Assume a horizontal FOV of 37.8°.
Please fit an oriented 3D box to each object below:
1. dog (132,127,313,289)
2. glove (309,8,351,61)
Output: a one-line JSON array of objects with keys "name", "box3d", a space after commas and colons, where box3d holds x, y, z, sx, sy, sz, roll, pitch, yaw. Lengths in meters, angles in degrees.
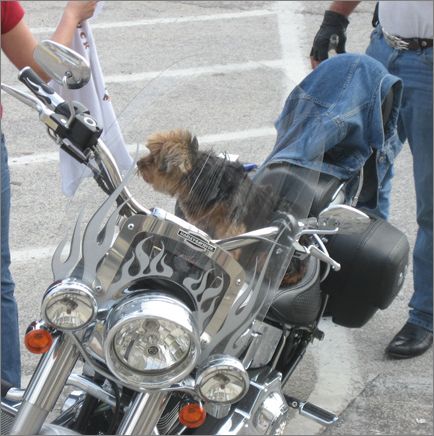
[{"name": "dog", "box3d": [0.034, -0.039, 1.656, 0.602, 0.257, 0.167, 12, 15, -27]}, {"name": "glove", "box3d": [0.562, -0.931, 3.219, 0.104, 0.268, 0.211, 6, 17, -12]}]
